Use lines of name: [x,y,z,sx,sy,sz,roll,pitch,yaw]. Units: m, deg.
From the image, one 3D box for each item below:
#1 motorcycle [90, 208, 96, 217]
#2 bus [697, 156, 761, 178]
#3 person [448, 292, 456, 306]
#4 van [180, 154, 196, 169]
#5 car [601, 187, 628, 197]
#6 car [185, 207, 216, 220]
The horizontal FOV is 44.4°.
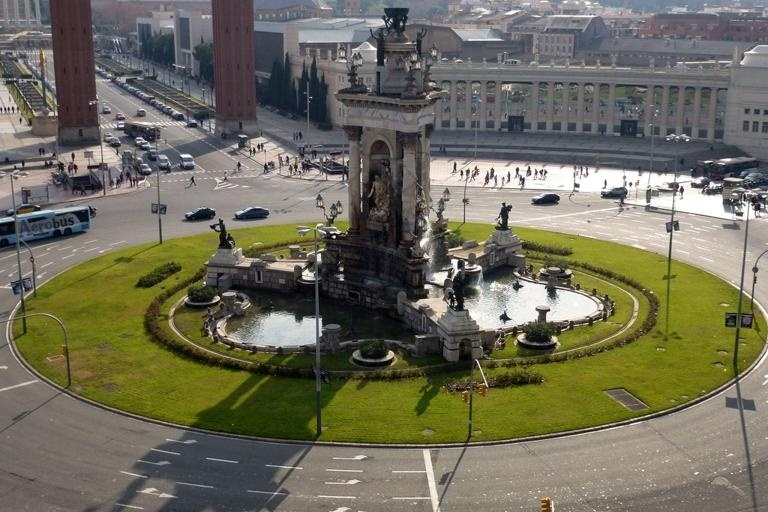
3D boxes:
motorcycle: [-43.732,-6.654,141.416,0.862,1.112,0.382,3,4,-25]
bus: [62.989,-15.842,168.488,13.208,3.292,3.927,-10,22,-18]
person: [6.993,4.434,96.319,1.037,1.223,0.460,1,1,25]
van: [-36.258,-17.347,173.900,2.466,1.905,3.951,-8,15,-25]
car: [37.744,-10.365,153.662,3.822,1.499,2.032,2,10,5]
car: [-27.450,-6.384,140.155,4.096,1.244,1.959,-1,8,-26]
